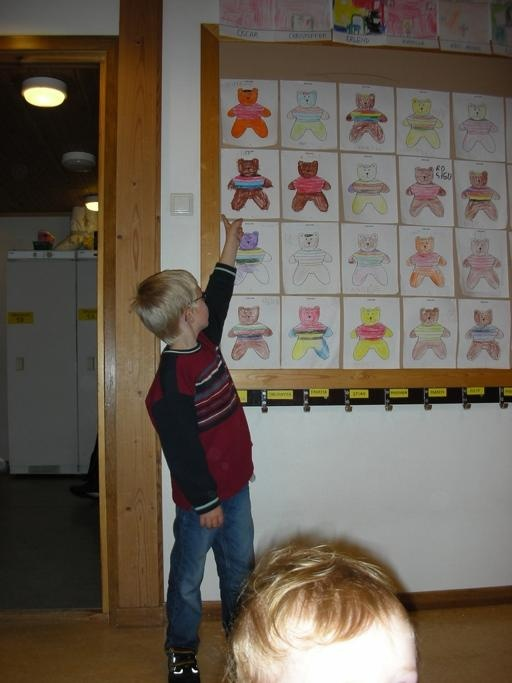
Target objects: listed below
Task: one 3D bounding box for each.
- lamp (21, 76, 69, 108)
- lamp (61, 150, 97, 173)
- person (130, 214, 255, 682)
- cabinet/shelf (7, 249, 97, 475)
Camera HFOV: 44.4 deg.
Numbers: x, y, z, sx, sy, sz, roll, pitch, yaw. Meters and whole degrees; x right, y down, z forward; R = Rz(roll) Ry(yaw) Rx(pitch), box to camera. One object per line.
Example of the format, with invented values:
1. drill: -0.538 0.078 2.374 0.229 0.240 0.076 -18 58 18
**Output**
1. lamp: -1.190 -1.413 3.534 0.230 0.093 0.338 -2 3 -36
2. lamp: -1.361 -1.405 4.863 0.243 0.102 0.342 -1 2 -14
3. person: -0.170 0.400 2.107 0.333 1.432 0.510 0 2 16
4. cabinet/shelf: -1.625 0.179 5.027 0.689 1.794 0.268 -1 2 -14
